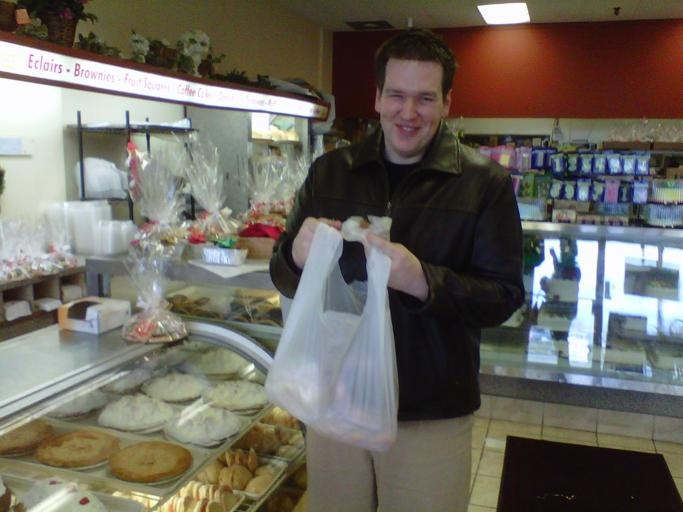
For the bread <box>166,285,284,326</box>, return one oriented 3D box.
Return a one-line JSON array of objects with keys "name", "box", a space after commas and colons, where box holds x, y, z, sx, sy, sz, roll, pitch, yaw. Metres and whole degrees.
[{"name": "bread", "box": [-0.491, 0.226, 2.445, 0.363, 0.058, 0.231, 7, 10, 18]}]
